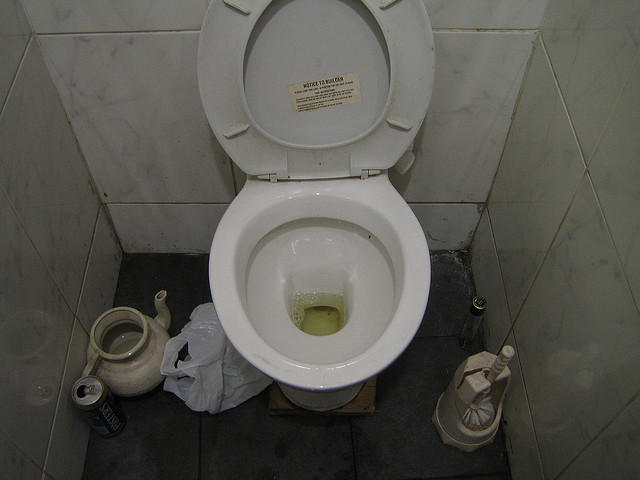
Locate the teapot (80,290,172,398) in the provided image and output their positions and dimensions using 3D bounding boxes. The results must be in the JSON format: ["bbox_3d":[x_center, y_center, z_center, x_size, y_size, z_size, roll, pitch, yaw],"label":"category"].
[{"bbox_3d":[-0.538,0.322,1.608,0.212,0.320,0.169,32,-23,-5],"label":"teapot"}]

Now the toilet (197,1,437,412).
[{"bbox_3d":[-0.002,-0.085,1.304,0.543,0.910,0.466,-3,20,-14],"label":"toilet"}]

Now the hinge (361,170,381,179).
[{"bbox_3d":[0.128,-0.176,1.452,0.032,0.027,0.009,7,-9,-3],"label":"hinge"}]

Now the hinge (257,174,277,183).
[{"bbox_3d":[-0.141,-0.165,1.459,0.029,0.018,0.008,1,48,4],"label":"hinge"}]
